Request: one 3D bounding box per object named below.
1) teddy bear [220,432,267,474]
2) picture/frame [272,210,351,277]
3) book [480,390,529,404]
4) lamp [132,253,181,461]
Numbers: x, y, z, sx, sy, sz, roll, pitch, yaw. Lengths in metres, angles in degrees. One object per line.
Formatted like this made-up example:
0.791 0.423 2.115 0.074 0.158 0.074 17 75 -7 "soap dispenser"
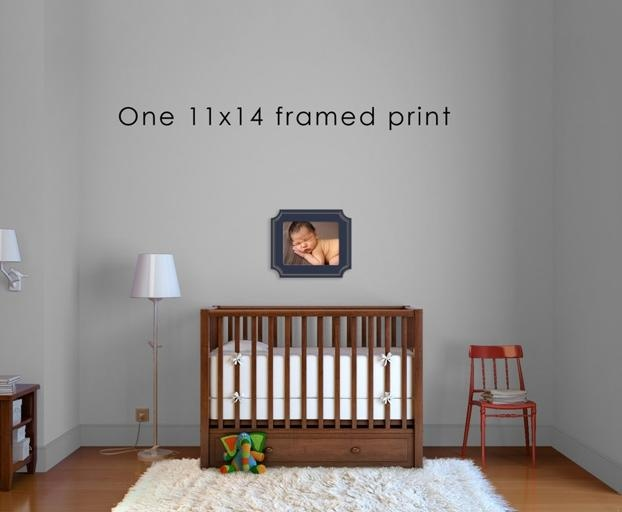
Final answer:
-0.454 1.329 4.463 0.290 0.291 0.146 3 -20 -9 "teddy bear"
0.002 -0.095 5.140 0.451 0.426 0.024 1 1 -4 "picture/frame"
1.382 1.008 4.745 0.308 0.081 0.169 1 12 5 "book"
-1.128 0.717 4.911 0.353 1.501 0.622 -3 12 -12 "lamp"
